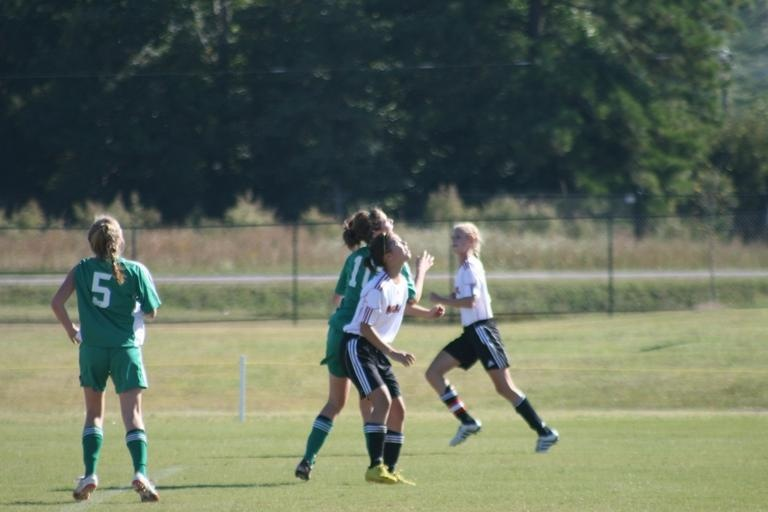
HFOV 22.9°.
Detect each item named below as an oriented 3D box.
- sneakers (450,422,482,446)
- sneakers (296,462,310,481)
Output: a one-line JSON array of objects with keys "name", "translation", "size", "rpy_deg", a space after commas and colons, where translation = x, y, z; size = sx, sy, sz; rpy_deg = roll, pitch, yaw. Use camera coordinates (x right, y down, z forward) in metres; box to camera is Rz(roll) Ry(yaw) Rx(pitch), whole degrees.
[{"name": "sneakers", "translation": [1.460, 3.174, 33.824], "size": [0.540, 0.225, 0.172], "rpy_deg": [-34, 23, 14]}, {"name": "sneakers", "translation": [-1.373, 3.640, 32.460], "size": [0.275, 0.234, 0.331], "rpy_deg": [-2, -1, -4]}]
